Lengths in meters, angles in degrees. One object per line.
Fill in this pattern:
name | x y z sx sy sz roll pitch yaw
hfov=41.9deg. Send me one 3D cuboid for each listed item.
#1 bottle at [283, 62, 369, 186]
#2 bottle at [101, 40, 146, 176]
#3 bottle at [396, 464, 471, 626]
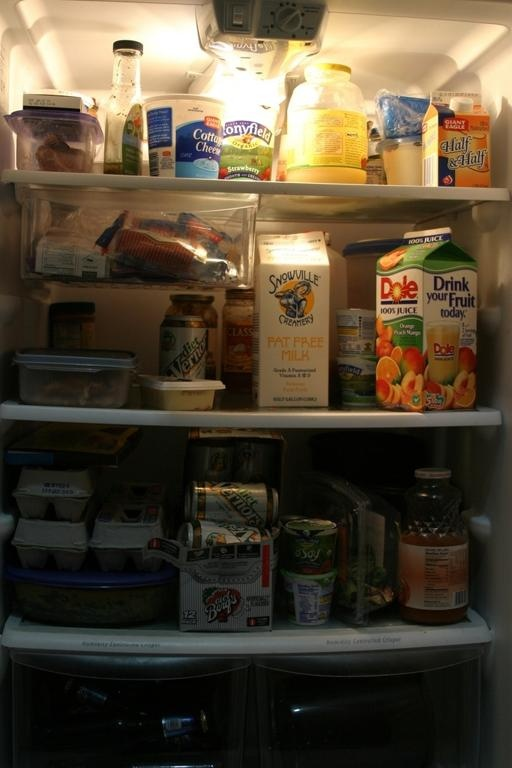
bottle | 0.127 -0.415 1.109 0.125 0.223 0.119 -3 15 1
bottle | -0.221 -0.449 1.106 0.070 0.218 0.132 -3 8 -12
bottle | 0.300 0.279 1.133 0.112 0.237 0.099 0 8 11
